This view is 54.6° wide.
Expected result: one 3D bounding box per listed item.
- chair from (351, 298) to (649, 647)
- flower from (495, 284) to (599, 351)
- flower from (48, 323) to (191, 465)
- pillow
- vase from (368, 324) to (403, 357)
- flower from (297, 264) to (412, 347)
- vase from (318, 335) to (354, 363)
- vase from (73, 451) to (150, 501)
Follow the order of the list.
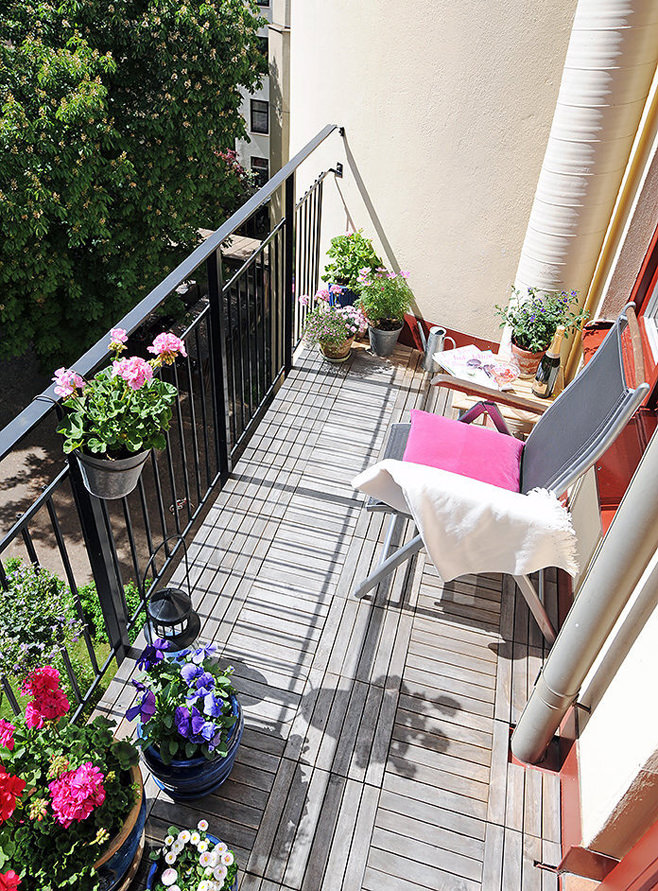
[{"bbox_3d":[0.661,0.105,2.460,0.915,1.296,0.754,11,54,7],"label":"chair"},{"bbox_3d":[1.182,-0.715,3.531,0.399,0.285,0.385,30,72,11],"label":"flower"},{"bbox_3d":[-0.481,-0.128,1.495,0.236,0.292,0.273,-19,74,29],"label":"flower"},{"bbox_3d":[0.521,0.014,2.457,0.347,0.094,0.388,14,43,1],"label":"pillow"},{"bbox_3d":[0.359,-0.682,4.081,0.182,0.162,0.185,-23,50,-20],"label":"vase"},{"bbox_3d":[0.171,-0.759,4.037,0.568,0.412,0.551,10,60,1],"label":"flower"},{"bbox_3d":[0.054,-0.615,3.929,0.160,0.121,0.156,36,62,24],"label":"vase"},{"bbox_3d":[-0.542,0.054,1.571,0.136,0.098,0.136,-16,47,-35],"label":"vase"}]
